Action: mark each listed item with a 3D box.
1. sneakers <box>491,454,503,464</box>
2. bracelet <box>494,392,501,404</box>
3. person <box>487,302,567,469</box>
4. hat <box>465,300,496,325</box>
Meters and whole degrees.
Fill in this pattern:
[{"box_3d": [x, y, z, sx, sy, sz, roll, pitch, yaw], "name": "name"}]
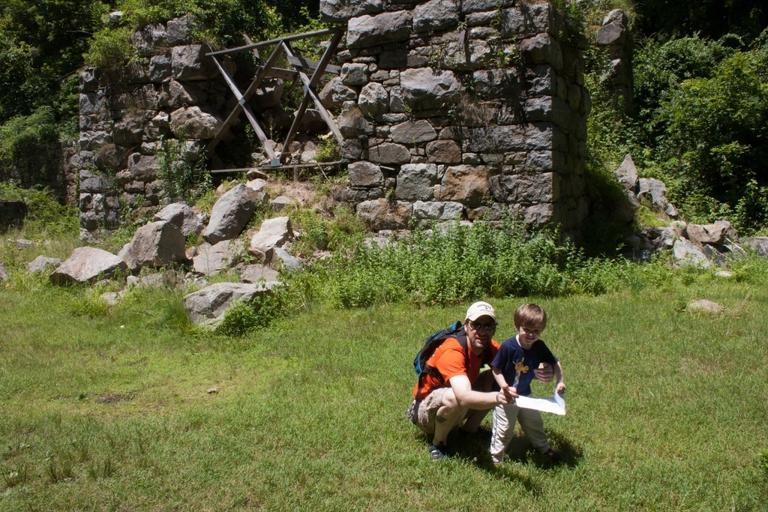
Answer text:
[{"box_3d": [1.514, 2.741, 11.519, 0.112, 0.121, 0.047, -2, 4, 4], "name": "sneakers"}, {"box_3d": [1.490, 1.864, 11.303, 0.069, 0.128, 0.040, 0, 6, 6], "name": "bracelet"}, {"box_3d": [1.889, 1.713, 11.534, 0.946, 2.142, 0.475, -1, 6, -9], "name": "person"}, {"box_3d": [1.291, 0.742, 11.656, 0.391, 0.248, 0.368, 0, 6, 5], "name": "hat"}]
